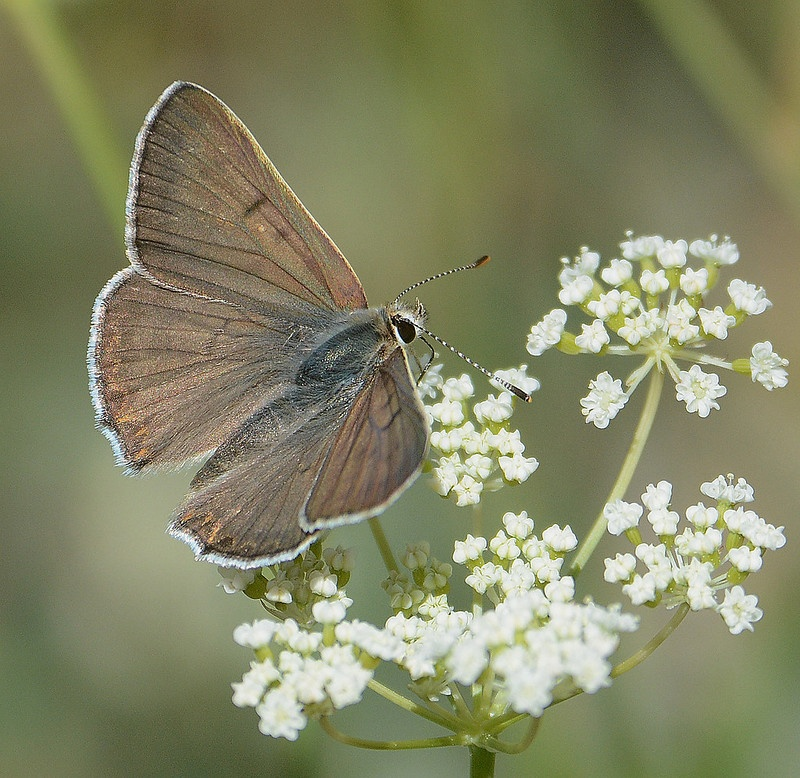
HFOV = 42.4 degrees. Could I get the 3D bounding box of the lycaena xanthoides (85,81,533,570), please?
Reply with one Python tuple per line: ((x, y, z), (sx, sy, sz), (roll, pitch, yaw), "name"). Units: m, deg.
((-0.712, -0.223, 5.568), (1.987, 1.495, 2.894), (3, -68, -16), "lycaena xanthoides")
